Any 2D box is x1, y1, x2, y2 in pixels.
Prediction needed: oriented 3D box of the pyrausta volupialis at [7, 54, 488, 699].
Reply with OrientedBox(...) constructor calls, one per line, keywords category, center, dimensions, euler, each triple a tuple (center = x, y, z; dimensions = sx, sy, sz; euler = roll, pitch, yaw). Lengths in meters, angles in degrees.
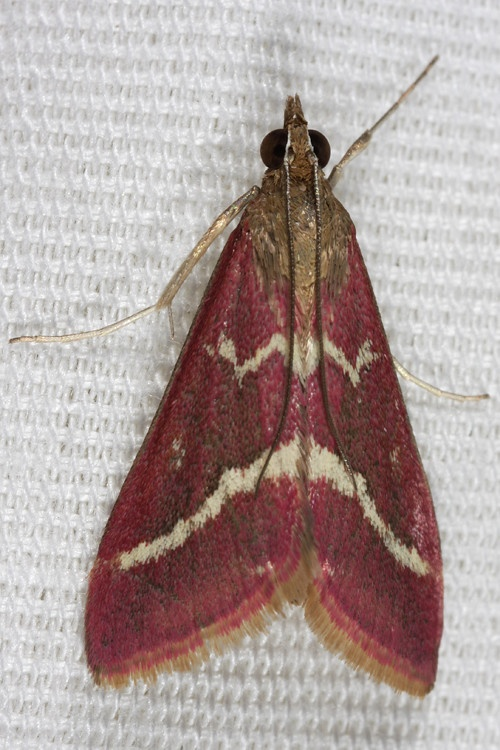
OrientedBox(category="pyrausta volupialis", center=(0.039, 0.120, 1.580), dimensions=(0.652, 0.351, 1.490), euler=(15, 73, -34))
